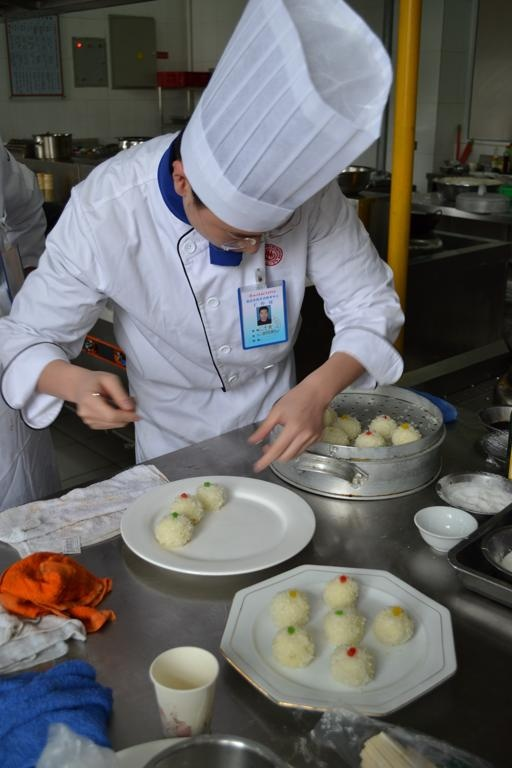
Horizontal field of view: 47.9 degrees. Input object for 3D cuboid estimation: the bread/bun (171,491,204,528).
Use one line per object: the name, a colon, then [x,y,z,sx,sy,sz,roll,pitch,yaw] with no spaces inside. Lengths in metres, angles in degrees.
bread/bun: [-0.096,0.184,0.885,0.048,0.047,0.048,10,18,27]

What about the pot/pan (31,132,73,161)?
pot/pan: [-1.205,-1.418,3.452,0.170,0.122,0.286,7,25,7]

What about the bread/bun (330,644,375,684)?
bread/bun: [0.098,0.289,0.587,0.038,0.018,0.038,23,37,36]

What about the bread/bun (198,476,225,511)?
bread/bun: [-0.072,0.171,0.916,0.044,0.040,0.042,-8,19,-23]

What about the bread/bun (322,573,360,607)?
bread/bun: [0.105,0.256,0.705,0.040,0.022,0.038,-18,27,-25]

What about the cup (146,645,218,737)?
cup: [-0.052,0.248,0.499,0.072,0.077,0.071,1,26,0]

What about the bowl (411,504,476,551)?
bowl: [0.284,0.215,0.871,0.102,0.055,0.093,-4,19,1]

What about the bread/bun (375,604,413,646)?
bread/bun: [0.154,0.274,0.648,0.043,0.025,0.042,0,19,7]

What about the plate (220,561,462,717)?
plate: [0.094,0.290,0.660,0.262,0.033,0.257,11,20,40]

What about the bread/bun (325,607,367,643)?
bread/bun: [0.098,0.272,0.647,0.038,0.017,0.039,3,23,18]

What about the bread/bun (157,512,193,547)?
bread/bun: [-0.118,0.209,0.816,0.047,0.028,0.046,6,28,6]
